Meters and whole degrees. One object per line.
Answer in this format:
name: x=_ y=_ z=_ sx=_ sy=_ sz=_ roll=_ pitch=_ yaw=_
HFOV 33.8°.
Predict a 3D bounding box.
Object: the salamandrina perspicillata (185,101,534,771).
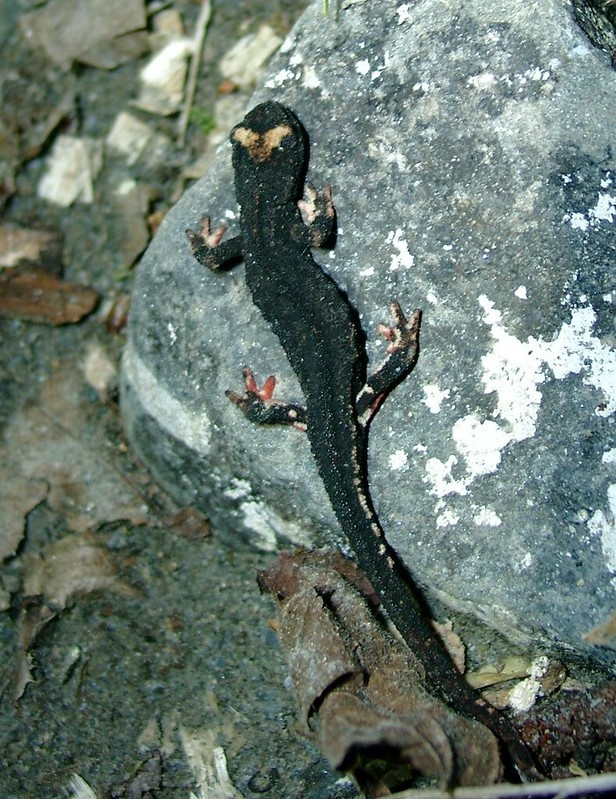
salamandrina perspicillata: x=0.253 y=0.122 z=5.030 sx=1.101 sy=0.415 sz=3.506 roll=-18 pitch=78 yaw=2
